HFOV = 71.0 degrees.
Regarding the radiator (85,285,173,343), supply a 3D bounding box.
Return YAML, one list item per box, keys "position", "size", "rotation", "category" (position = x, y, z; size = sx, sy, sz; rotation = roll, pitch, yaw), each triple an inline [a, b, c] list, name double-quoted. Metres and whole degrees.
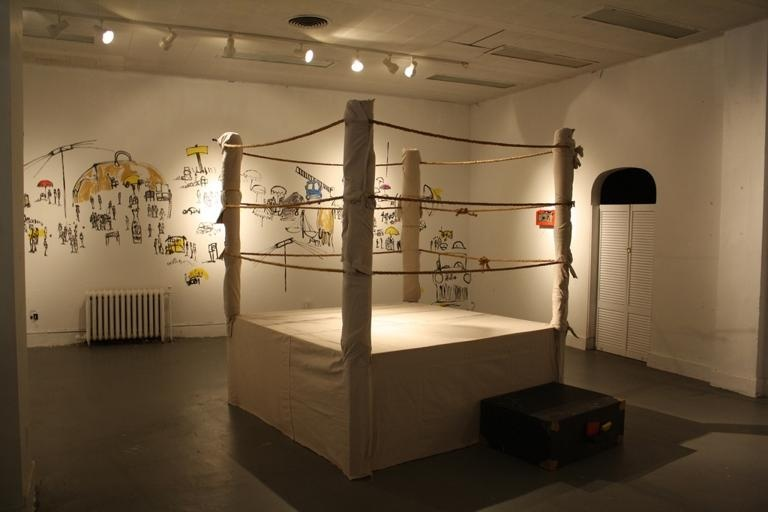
- position: [-3.607, 0.819, 7.581]
  size: [0.969, 0.722, 0.155]
  rotation: [0, 10, -18]
  category: "radiator"
